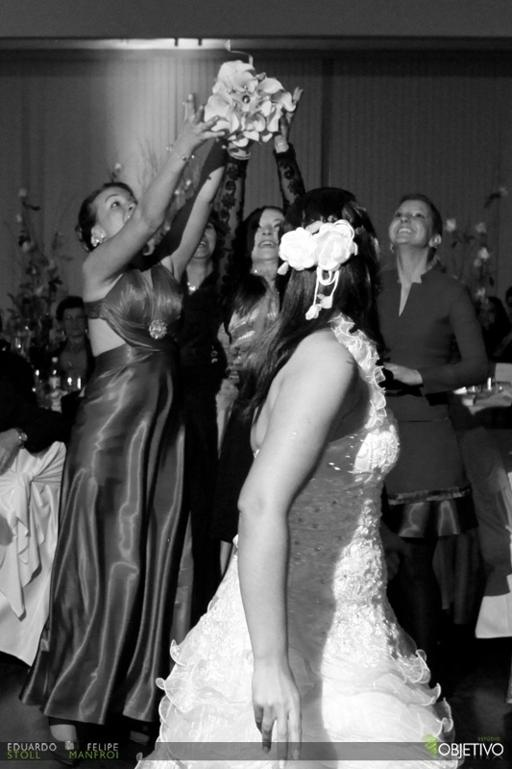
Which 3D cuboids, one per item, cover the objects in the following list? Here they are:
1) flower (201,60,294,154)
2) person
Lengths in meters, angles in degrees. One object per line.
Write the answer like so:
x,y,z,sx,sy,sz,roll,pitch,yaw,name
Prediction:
-0.017,-0.698,2.247,0.200,0.217,0.110,9,13,-1,flower
-0.013,0.143,1.803,0.816,1.403,0.742,-3,4,-12,person
